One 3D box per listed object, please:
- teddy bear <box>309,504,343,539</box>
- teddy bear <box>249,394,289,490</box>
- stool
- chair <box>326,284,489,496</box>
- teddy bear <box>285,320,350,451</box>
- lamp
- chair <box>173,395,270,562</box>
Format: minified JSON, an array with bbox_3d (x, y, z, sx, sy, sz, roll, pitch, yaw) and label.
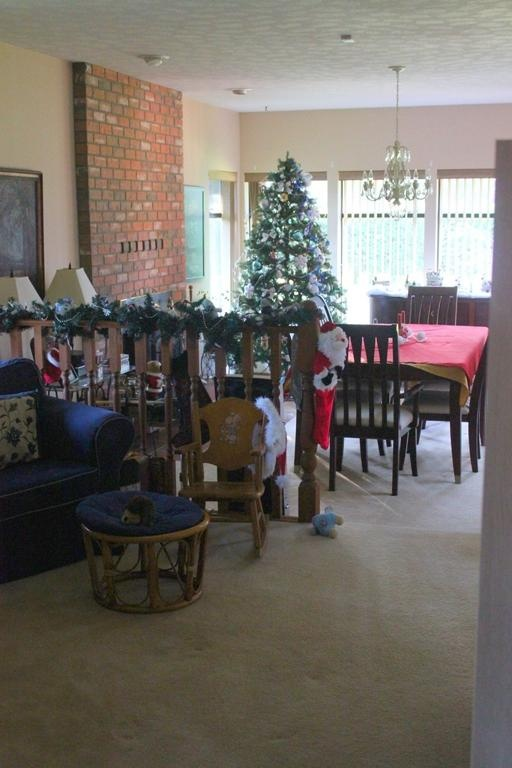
[{"bbox_3d":[0.337,0.649,2.951,0.144,0.132,0.203,0,7,7],"label":"teddy bear"},{"bbox_3d":[0.069,0.270,2.857,0.125,0.346,0.254,4,1,14],"label":"teddy bear"},{"bbox_3d":[-0.416,0.615,2.307,0.450,0.354,0.457,0,2,-3],"label":"stool"},{"bbox_3d":[1.139,-0.007,4.360,0.888,0.915,1.389,5,18,20],"label":"chair"},{"bbox_3d":[0.311,0.009,3.184,0.261,0.663,0.605,0,7,3],"label":"teddy bear"},{"bbox_3d":[1.299,-2.253,5.631,0.539,1.198,0.560,4,20,24],"label":"lamp"},{"bbox_3d":[-0.140,0.418,2.705,0.373,0.672,0.409,-1,3,9],"label":"chair"}]
